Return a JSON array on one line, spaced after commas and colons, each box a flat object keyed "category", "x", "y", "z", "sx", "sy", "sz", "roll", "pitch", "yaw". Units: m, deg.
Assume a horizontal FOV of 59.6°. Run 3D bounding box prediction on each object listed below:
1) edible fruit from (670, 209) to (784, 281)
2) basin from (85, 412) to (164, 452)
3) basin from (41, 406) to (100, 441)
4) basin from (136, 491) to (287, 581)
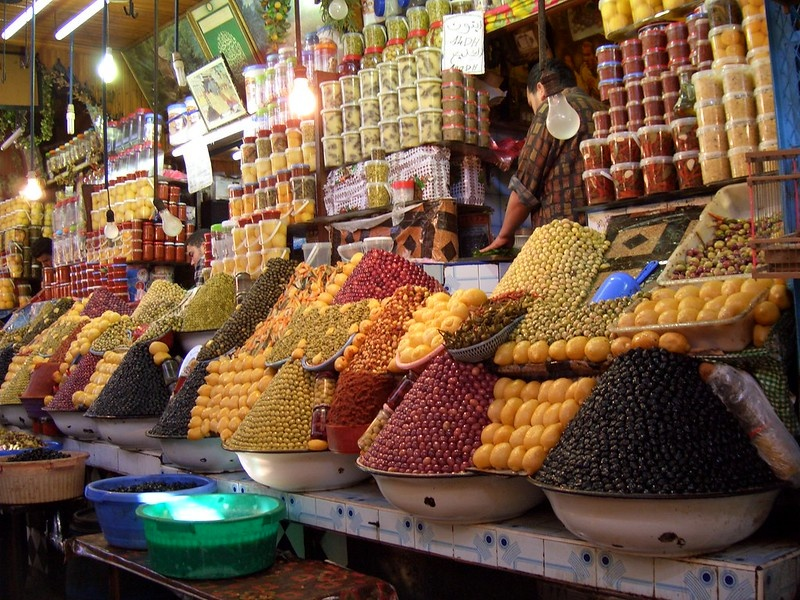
[{"category": "edible fruit", "x": 1.221, "y": -0.211, "z": 2.663, "sx": 0.427, "sy": 0.202, "sz": 0.279, "roll": -16, "pitch": 7, "yaw": -37}, {"category": "basin", "x": -1.400, "y": 0.679, "z": 3.562, "sx": 0.241, "sy": 0.106, "sz": 0.255, "roll": 2, "pitch": -3, "yaw": 0}, {"category": "basin", "x": -1.907, "y": 0.732, "z": 4.072, "sx": 0.266, "sy": 0.118, "sz": 0.275, "roll": 3, "pitch": -3, "yaw": 0}, {"category": "basin", "x": -0.650, "y": 0.833, "z": 2.416, "sx": 0.350, "sy": 0.147, "sz": 0.383, "roll": -2, "pitch": -16, "yaw": 0}]
